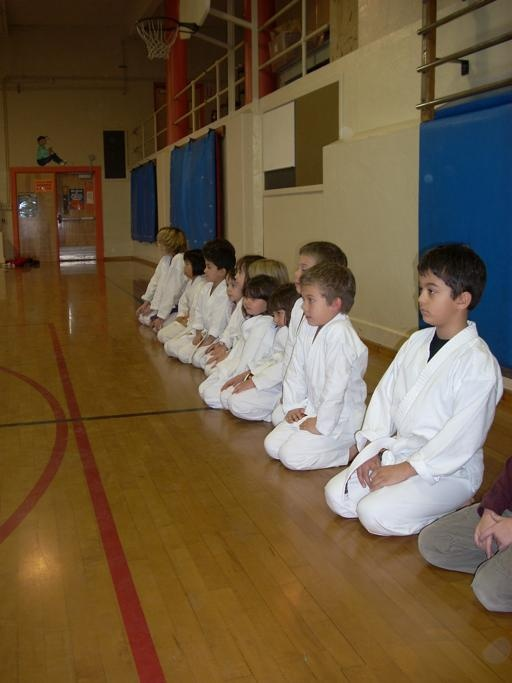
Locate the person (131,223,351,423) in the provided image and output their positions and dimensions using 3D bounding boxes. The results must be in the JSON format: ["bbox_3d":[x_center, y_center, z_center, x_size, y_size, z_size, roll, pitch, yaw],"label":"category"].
[{"bbox_3d":[0.013,-0.289,3.868,1.774,0.898,1.053,-7,19,-16],"label":"person"}]

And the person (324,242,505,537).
[{"bbox_3d":[0.484,0.154,1.563,0.511,0.909,0.372,2,6,29],"label":"person"}]
